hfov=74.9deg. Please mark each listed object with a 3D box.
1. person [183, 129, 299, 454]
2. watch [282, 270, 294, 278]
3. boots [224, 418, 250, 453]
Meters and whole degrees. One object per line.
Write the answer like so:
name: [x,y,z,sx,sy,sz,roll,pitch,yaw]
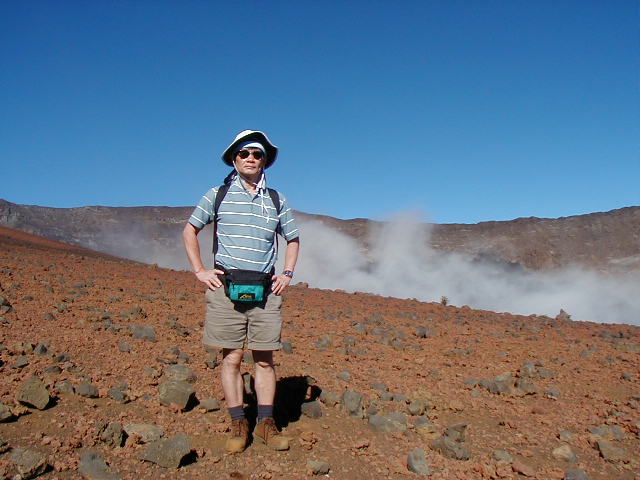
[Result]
person: [-0.879,0.492,4.598,1.182,3.443,0.710,6,4,-3]
watch: [-0.343,0.375,4.651,0.082,0.055,0.103,6,-7,-41]
boots: [-0.862,2.091,4.463,0.239,0.300,0.222,5,4,-13]
